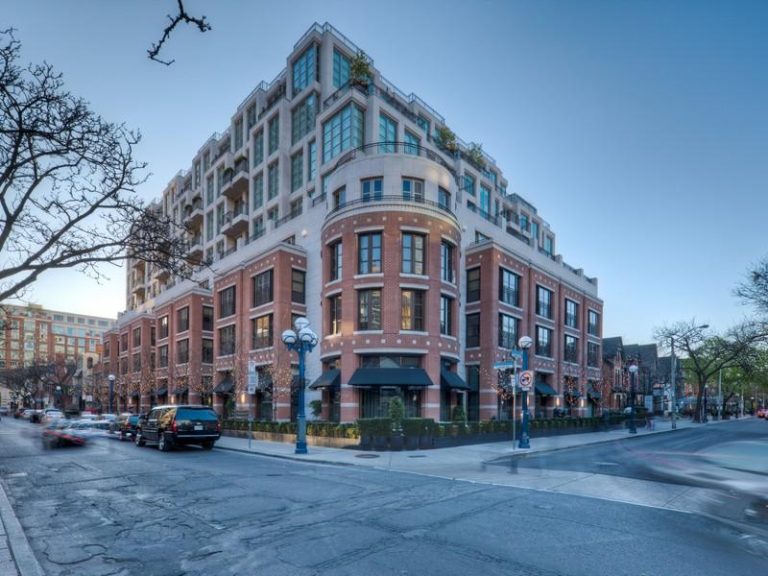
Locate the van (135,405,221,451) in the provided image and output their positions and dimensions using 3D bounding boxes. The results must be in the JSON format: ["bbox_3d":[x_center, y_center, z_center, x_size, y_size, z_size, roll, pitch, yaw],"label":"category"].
[{"bbox_3d":[-9.813,6.379,31.356,1.912,1.692,4.118,11,-13,-38],"label":"van"}]

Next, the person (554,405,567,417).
[{"bbox_3d":[13.656,9.523,52.107,0.769,0.826,0.406,17,-22,-31],"label":"person"}]

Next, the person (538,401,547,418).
[{"bbox_3d":[12.428,9.339,52.365,0.613,1.291,1.182,-14,-21,39],"label":"person"}]

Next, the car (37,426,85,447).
[{"bbox_3d":[-15.498,7.109,32.100,2.353,1.075,1.201,-5,-17,11],"label":"car"}]
